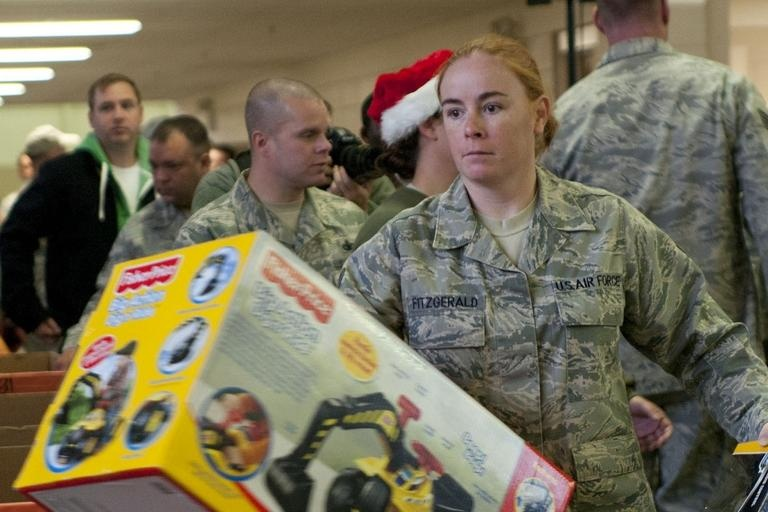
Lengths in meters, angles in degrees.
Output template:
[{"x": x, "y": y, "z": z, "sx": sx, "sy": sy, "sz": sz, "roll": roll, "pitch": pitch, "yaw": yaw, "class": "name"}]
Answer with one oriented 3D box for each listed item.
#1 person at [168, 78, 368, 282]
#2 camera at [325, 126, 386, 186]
[{"x": -0.397, "y": -0.265, "z": 3.236, "sx": 0.418, "sy": 0.687, "sz": 0.897, "roll": 10, "pitch": 13, "yaw": 38, "class": "person"}, {"x": -0.099, "y": -0.355, "z": 3.257, "sx": 0.203, "sy": 0.181, "sz": 0.116, "roll": 13, "pitch": 40, "yaw": 26, "class": "camera"}]
